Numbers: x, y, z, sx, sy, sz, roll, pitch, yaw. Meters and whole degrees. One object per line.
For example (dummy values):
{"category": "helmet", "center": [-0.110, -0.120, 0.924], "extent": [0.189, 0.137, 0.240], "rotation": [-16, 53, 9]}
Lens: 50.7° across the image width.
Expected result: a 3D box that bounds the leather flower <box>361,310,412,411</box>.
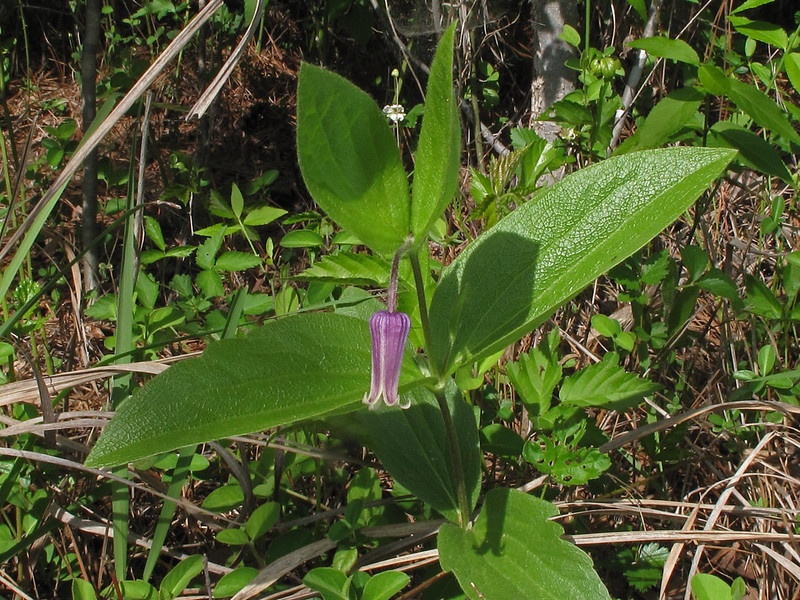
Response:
{"category": "leather flower", "center": [-0.053, 0.209, 2.948], "extent": [0.143, 0.282, 0.196], "rotation": [4, 31, 10]}
